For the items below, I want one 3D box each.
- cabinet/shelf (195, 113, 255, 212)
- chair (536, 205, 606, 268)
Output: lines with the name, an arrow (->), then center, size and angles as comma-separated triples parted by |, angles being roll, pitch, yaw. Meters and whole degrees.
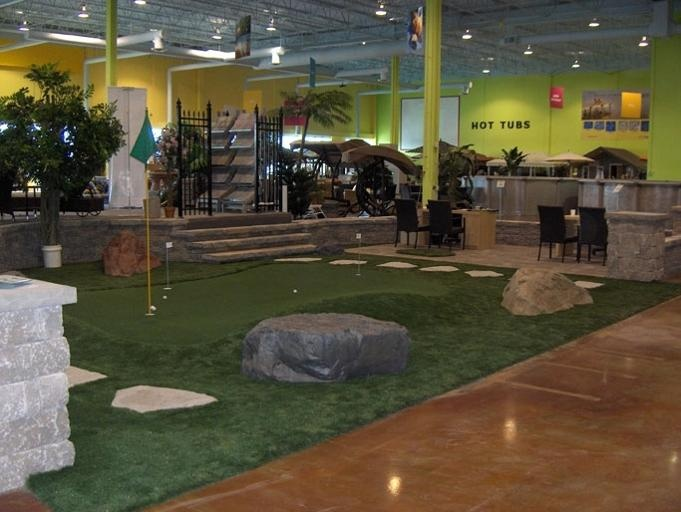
cabinet/shelf -> -2.859, -2.637, 14.018 | 1.108, 2.808, 2.813 | -1, 8, -13
chair -> 4.805, -0.571, 10.756 | 1.552, 1.366, 1.204 | 5, 10, 40
